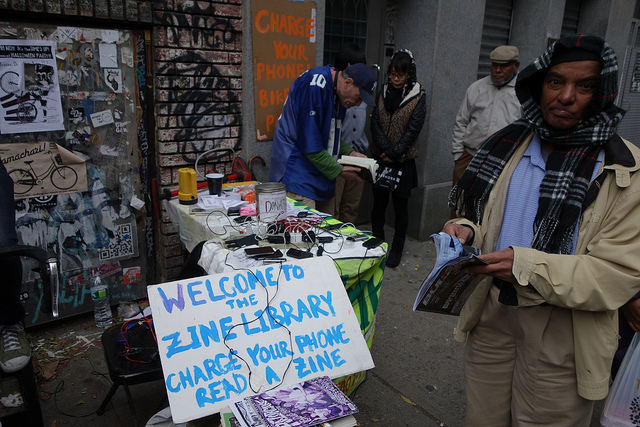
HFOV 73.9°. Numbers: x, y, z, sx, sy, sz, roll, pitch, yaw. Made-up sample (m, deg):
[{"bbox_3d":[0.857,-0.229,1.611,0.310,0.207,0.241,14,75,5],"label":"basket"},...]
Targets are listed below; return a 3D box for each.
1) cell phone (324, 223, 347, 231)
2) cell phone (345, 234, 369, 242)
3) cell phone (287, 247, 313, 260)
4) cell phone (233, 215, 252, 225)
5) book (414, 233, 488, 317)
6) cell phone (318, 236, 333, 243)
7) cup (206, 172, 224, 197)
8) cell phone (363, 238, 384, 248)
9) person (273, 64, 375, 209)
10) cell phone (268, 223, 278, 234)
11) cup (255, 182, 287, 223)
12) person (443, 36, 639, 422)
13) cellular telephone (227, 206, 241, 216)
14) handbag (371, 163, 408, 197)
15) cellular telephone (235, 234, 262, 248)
[{"bbox_3d":[0.133,0.108,3.679,0.211,0.027,0.085,-15,23,-39],"label":"cell phone"},{"bbox_3d":[0.315,0.187,3.447,0.120,0.020,0.062,-6,10,-26],"label":"cell phone"},{"bbox_3d":[-0.149,0.291,3.107,0.155,0.017,0.088,10,22,34],"label":"cell phone"},{"bbox_3d":[-0.691,0.045,3.744,0.118,0.039,0.068,-10,17,-43],"label":"cell phone"},{"bbox_3d":[0.734,0.434,2.545,0.395,0.548,0.166,1,38,-24],"label":"book"},{"bbox_3d":[0.047,0.205,3.381,0.111,0.040,0.032,-4,18,-11],"label":"cell phone"},{"bbox_3d":[-1.045,-0.308,4.339,0.199,0.215,0.204,0,12,0],"label":"cup"},{"bbox_3d":[0.420,0.229,3.399,0.107,0.034,0.185,10,21,30],"label":"cell phone"},{"bbox_3d":[-0.004,-0.839,4.427,0.857,1.598,0.723,17,52,5],"label":"person"},{"bbox_3d":[-0.390,0.121,3.502,0.079,0.058,0.115,-3,18,-6],"label":"cell phone"},{"bbox_3d":[-0.437,-0.094,3.761,0.282,0.332,0.294,-1,13,0],"label":"cup"},{"bbox_3d":[1.351,0.190,2.577,1.048,2.389,0.722,6,19,21],"label":"person"},{"bbox_3d":[-0.792,-0.030,3.894,0.106,0.053,0.135,-3,18,-6],"label":"cellular telephone"},{"bbox_3d":[0.831,-0.417,4.962,0.318,0.317,0.289,22,24,28],"label":"handbag"},{"bbox_3d":[-0.576,0.206,3.327,0.140,0.034,0.081,-11,31,-37],"label":"cellular telephone"}]
